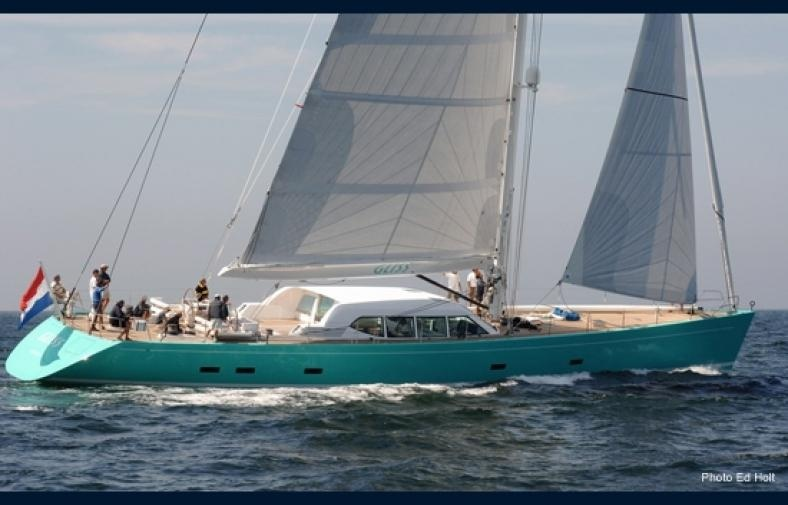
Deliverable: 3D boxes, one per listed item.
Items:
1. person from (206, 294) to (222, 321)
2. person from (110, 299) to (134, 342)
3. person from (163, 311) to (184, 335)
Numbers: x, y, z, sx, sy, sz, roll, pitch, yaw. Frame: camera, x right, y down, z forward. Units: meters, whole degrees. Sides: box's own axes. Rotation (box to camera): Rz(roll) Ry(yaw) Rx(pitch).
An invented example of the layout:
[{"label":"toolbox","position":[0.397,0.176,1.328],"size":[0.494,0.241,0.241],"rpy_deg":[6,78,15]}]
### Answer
[{"label":"person","position":[-4.972,1.516,27.270],"size":[0.410,0.771,0.714],"rpy_deg":[-2,10,-9]},{"label":"person","position":[-7.589,1.846,27.308],"size":[0.605,0.987,1.148],"rpy_deg":[-3,9,-15]},{"label":"person","position":[-6.331,2.040,27.781],"size":[0.591,0.555,0.228],"rpy_deg":[5,-10,-34]}]
